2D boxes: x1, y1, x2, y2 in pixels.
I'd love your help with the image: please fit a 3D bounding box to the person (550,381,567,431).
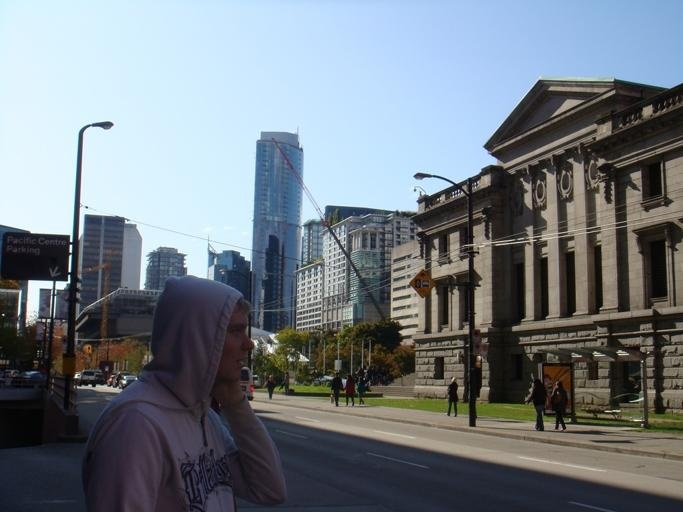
[{"bbox_3d":[8.569,5.813,28.226,0.565,1.859,1.362,-2,-10,16],"label":"person"}]
